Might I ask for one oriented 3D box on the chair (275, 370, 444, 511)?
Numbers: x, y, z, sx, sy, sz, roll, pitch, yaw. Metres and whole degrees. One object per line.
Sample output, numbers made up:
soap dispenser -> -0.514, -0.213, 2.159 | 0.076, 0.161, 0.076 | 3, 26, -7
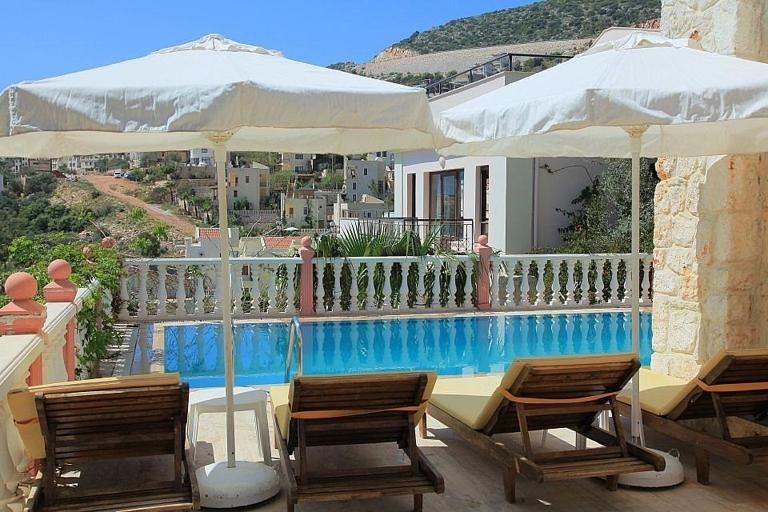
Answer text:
chair -> -0.212, 1.242, 5.157 | 0.738, 0.815, 1.380 | 0, 5, -10

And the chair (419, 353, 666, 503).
chair -> 1.201, 1.272, 6.192 | 1.049, 1.116, 2.536 | 0, 0, -15
